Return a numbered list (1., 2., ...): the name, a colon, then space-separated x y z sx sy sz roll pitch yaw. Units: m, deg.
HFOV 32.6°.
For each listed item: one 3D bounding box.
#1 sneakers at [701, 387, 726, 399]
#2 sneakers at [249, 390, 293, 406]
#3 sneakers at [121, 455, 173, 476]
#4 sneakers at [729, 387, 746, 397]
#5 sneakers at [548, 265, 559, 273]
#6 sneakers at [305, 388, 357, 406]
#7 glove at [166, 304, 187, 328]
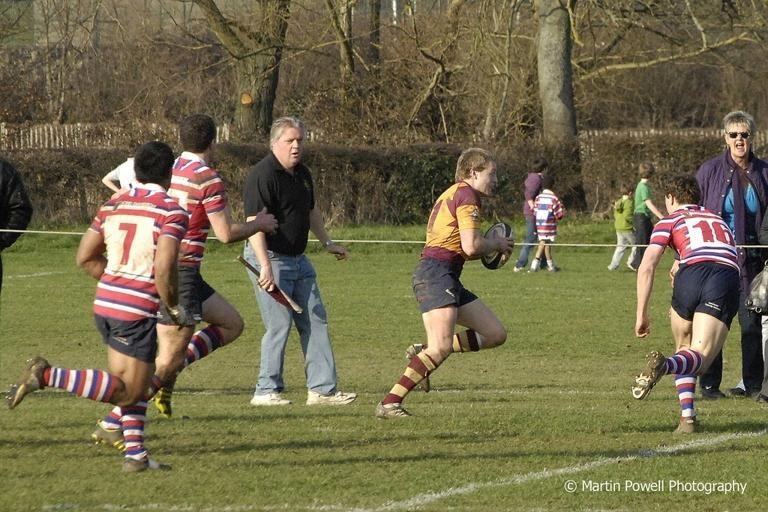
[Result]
1. sneakers: 5.118 2.127 20.337 0.305 0.113 0.156 -1 6 6
2. sneakers: -1.689 2.160 19.974 0.642 0.268 0.222 0 4 4
3. sneakers: -3.209 2.863 18.019 0.705 0.261 0.240 0 3 -12
4. sneakers: 5.498 2.123 20.439 0.194 0.072 0.125 5 19 1
5. sneakers: 3.958 0.312 30.430 0.103 0.197 0.307 -3 -10 22
6. sneakers: -0.788 2.143 19.998 0.727 0.285 0.270 -1 0 1
7. glove: -2.822 0.823 18.048 0.174 0.296 0.217 -9 41 38
